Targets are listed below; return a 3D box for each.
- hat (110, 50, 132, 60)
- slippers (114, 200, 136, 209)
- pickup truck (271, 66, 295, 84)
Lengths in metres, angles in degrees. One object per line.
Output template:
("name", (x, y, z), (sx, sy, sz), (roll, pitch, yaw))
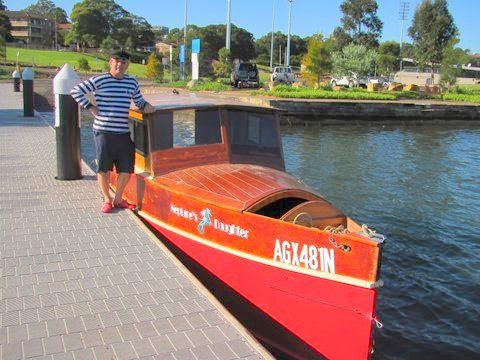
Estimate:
("hat", (-1.746, -1.801, 6.221), (0.256, 0.120, 0.333), (-2, 15, -18))
("slippers", (-1.885, 0.377, 6.972), (0.303, 0.135, 0.150), (1, 6, 14))
("pickup truck", (4.186, -10.166, 41.962), (2.179, 1.527, 1.545), (-3, 14, -22))
